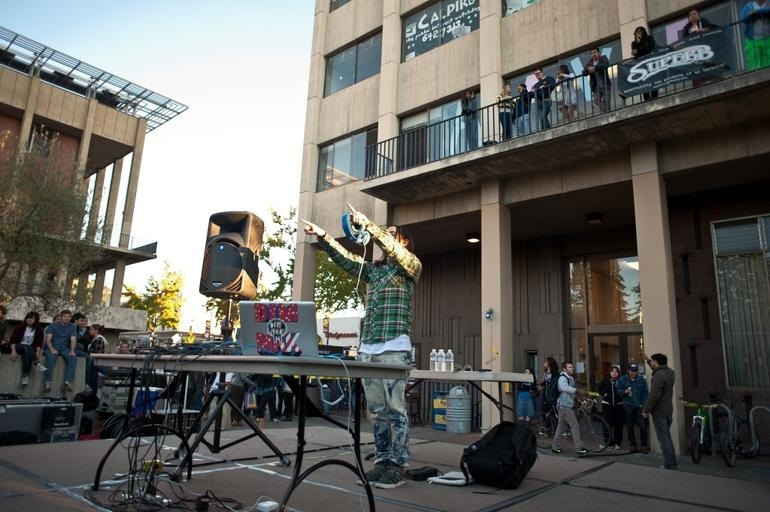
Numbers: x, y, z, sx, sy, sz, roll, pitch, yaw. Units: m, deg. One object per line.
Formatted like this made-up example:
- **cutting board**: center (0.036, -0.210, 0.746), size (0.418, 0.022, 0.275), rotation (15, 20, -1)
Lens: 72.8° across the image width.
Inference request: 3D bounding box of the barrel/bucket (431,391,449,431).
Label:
- **barrel/bucket**: center (1.551, 4.225, 14.207), size (0.618, 0.993, 0.645), rotation (4, -11, 1)

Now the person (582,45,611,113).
- **person**: center (5.144, -4.215, 12.627), size (0.794, 1.698, 0.598), rotation (-6, 1, -24)

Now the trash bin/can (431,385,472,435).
- **trash bin/can**: center (1.756, 4.007, 13.507), size (0.903, 1.346, 0.994), rotation (-8, -14, 41)

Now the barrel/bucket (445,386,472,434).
- **barrel/bucket**: center (1.878, 3.901, 13.289), size (0.671, 1.124, 0.679), rotation (2, -11, 0)

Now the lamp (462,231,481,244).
- **lamp**: center (2.785, -0.604, 16.402), size (0.375, 0.385, 0.239), rotation (5, 9, 43)

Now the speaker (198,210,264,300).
- **speaker**: center (-4.032, -0.028, 13.775), size (1.270, 2.231, 1.072), rotation (0, -16, 15)

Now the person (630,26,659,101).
- **person**: center (5.842, -4.402, 11.770), size (0.547, 1.637, 0.522), rotation (-4, -4, -45)

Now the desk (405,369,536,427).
- **desk**: center (1.247, 3.008, 10.359), size (2.718, 1.312, 1.431), rotation (7, -15, -17)
